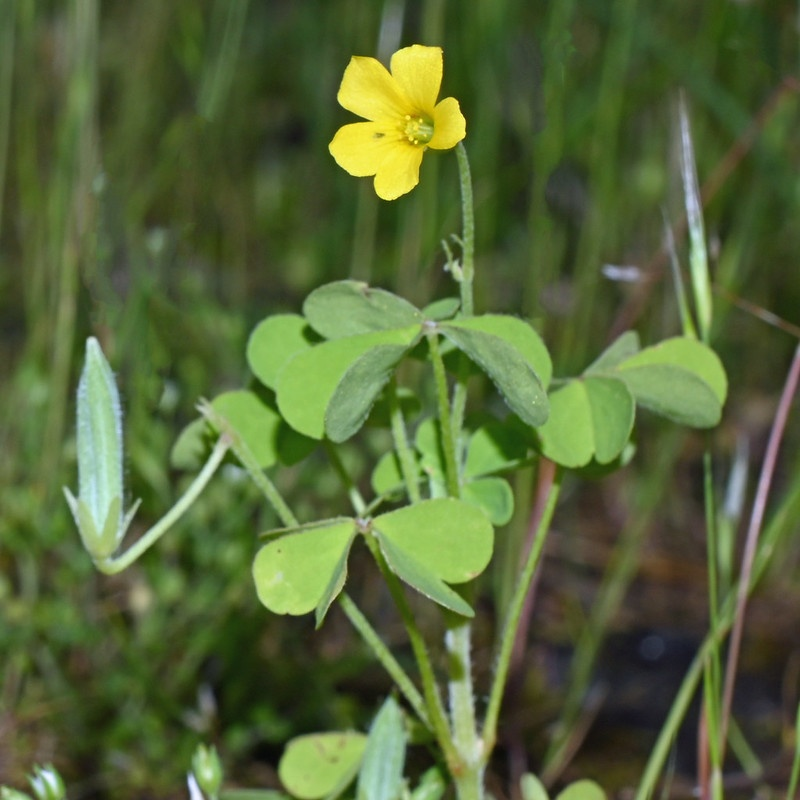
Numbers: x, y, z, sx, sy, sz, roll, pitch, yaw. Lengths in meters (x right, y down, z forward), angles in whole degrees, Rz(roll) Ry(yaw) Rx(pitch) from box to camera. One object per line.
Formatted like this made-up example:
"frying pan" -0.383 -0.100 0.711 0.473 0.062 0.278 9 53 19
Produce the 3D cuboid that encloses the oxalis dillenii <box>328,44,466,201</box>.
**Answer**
"oxalis dillenii" 0.008 -0.198 0.745 0.103 0.115 0.060 -19 -2 30
